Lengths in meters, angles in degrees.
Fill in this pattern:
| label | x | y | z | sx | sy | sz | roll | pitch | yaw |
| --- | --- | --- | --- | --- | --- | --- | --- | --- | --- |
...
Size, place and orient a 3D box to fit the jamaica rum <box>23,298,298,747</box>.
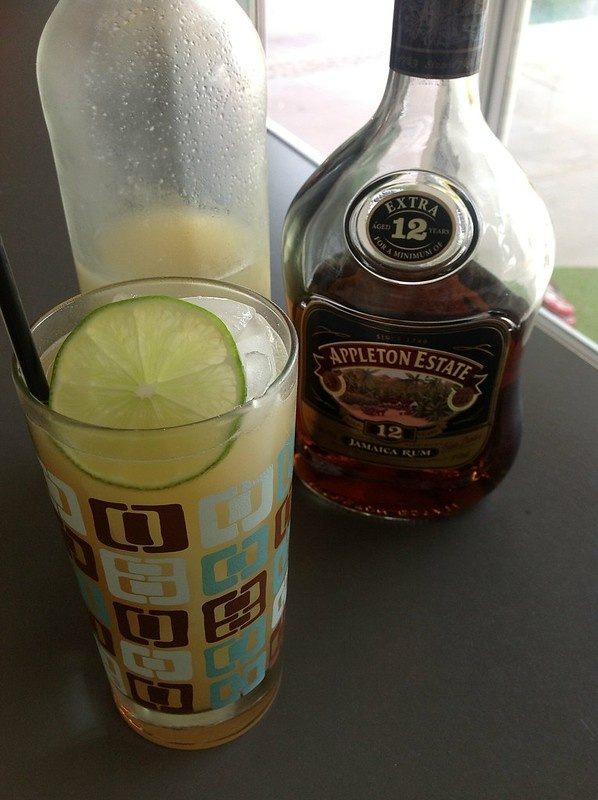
| label | x | y | z | sx | sy | sz | roll | pitch | yaw |
| --- | --- | --- | --- | --- | --- | --- | --- | --- | --- |
| jamaica rum | -0.069 | 0.068 | 0.399 | 0.129 | 0.243 | 0.140 | 2 | 39 | -1 |
